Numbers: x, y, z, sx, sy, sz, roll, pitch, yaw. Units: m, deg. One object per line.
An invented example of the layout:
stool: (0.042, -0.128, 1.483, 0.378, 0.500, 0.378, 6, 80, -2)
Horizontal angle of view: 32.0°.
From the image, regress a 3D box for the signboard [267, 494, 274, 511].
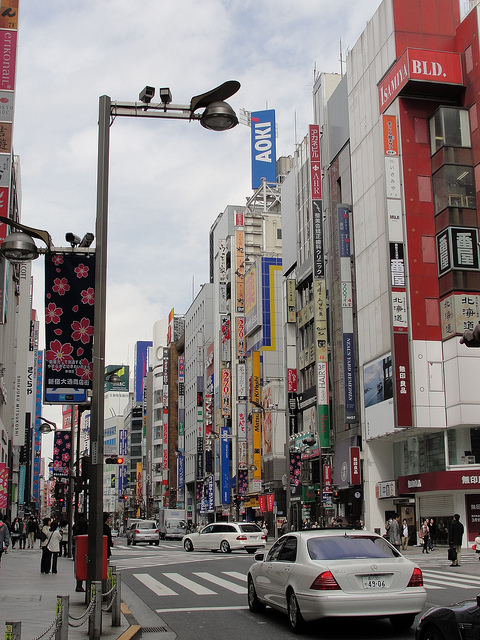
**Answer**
signboard: (2.269, 13.673, 62.722, 0.403, 1.102, 0.635, -3, -12, 7)

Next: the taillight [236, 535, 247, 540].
taillight: (0.087, 9.864, 37.950, 0.456, 0.208, 0.123, -2, -12, 0)

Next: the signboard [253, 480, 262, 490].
signboard: (1.305, 13.476, 68.264, 0.549, 1.043, 0.557, -6, -8, 44)

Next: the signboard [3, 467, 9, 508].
signboard: (-12.921, 9.282, 46.142, 0.150, 2.134, 5.030, 2, -16, -15)

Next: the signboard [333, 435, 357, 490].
signboard: (6.082, 8.282, 48.180, 0.576, 3.956, 2.805, 5, -1, 1)

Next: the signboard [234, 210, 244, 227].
signboard: (-0.055, -10.586, 87.247, 0.784, 2.017, 1.978, -3, -14, 6)

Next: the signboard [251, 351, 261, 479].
signboard: (1.377, 8.255, 70.469, 1.075, 11.256, 1.188, -5, 10, -28)

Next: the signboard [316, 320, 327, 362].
signboard: (4.966, 1.281, 51.162, 0.769, 2.661, 0.623, 0, -11, -6)

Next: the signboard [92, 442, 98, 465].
signboard: (-1.950, 1.794, 11.262, 0.067, 0.310, 0.196, 1, -13, -11)

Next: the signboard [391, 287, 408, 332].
signboard: (7.688, -0.480, 40.417, 0.847, 3.508, 0.172, -1, -42, 10)

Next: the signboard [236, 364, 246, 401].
signboard: (0.047, 5.643, 76.015, 0.747, 3.374, 0.806, -2, -11, 4)

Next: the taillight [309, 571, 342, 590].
taillight: (0.958, 2.955, 9.477, 0.366, 0.202, 0.127, -14, -17, 36)

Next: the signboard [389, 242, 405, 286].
signboard: (7.639, -2.716, 40.759, 0.971, 3.250, 0.255, 2, -39, 5)

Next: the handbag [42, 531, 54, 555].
handbag: (-5.183, 5.997, 22.617, 0.106, 0.571, 0.341, 10, -11, -8)

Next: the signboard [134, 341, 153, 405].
signboard: (-19.714, 11.805, 170.024, 2.710, 13.478, 2.053, 1, 2, -25)

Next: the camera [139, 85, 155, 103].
camera: (-1.220, -2.959, 11.035, 0.164, 0.248, 0.343, 1, -15, -12)

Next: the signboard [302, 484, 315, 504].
signboard: (4.681, 11.774, 57.195, 0.795, 1.164, 2.173, -2, -15, 1)

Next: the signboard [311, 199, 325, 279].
signboard: (4.992, -5.556, 52.361, 0.452, 6.730, 1.051, -15, 20, -34)

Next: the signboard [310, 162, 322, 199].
signboard: (4.768, -8.730, 52.564, 0.598, 2.691, 0.845, -2, -12, 3)

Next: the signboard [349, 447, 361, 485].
signboard: (6.385, 8.119, 46.561, 0.614, 2.024, 0.413, -3, -12, 9)

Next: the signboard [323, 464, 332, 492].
signboard: (5.239, 9.449, 50.173, 0.473, 1.711, 1.606, -2, -14, 4)

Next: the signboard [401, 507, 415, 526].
signboard: (8.624, 10.108, 43.070, 0.244, 0.959, 1.277, 3, -15, -19)

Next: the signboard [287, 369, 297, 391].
signboard: (3.870, 4.401, 61.510, 0.859, 1.698, 0.686, 2, -12, -16)

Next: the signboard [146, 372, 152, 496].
signboard: (-15.546, 19.201, 140.335, 1.226, 19.447, 1.493, -2, 9, -12)

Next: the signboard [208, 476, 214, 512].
signboard: (-2.863, 17.399, 83.572, 0.497, 3.452, 0.792, 0, -11, -6)

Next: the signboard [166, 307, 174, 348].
signboard: (-10.390, 1.611, 124.932, 0.500, 5.624, 4.353, 2, -9, -12)

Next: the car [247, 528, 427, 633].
car: (1.085, 3.148, 10.594, 0.967, 0.952, 2.513, 1, -11, -10)

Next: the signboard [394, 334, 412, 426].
signboard: (7.717, 2.836, 39.764, 0.713, 4.345, 0.342, -2, -11, 5)

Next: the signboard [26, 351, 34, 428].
signboard: (-24.641, 8.808, 97.957, 0.637, 8.116, 17.543, 2, -16, -14)

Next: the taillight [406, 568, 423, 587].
taillight: (2.038, 3.015, 9.788, 0.054, 0.207, 0.302, -10, -16, 37)

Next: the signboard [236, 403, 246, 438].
signboard: (0.108, 9.107, 75.591, 0.815, 3.117, 1.196, -2, -12, 3)
